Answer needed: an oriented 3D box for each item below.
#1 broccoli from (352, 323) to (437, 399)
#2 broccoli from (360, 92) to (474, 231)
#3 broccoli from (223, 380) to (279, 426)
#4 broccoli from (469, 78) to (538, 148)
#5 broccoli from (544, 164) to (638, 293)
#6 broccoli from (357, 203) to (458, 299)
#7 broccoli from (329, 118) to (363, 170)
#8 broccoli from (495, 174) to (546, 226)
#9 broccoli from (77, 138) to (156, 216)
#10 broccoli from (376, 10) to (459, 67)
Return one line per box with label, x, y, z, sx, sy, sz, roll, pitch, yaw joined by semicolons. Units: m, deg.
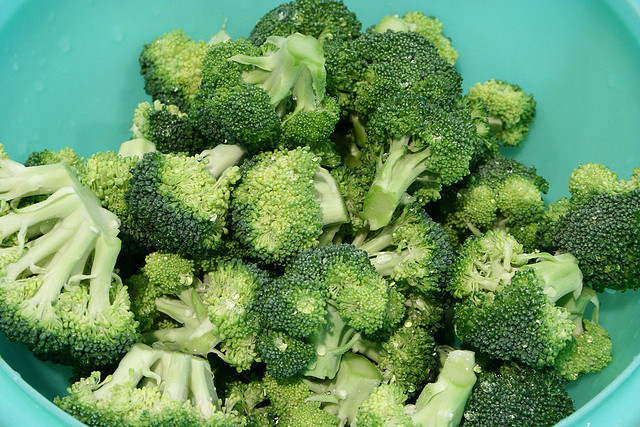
broccoli;0.364;0.618;2.605;0.340;0.209;0.284;5;106;34
broccoli;0.372;-0.263;2.580;0.543;0.246;0.443;-27;72;-7
broccoli;-0.307;0.819;2.545;0.168;0.082;0.221;-31;86;8
broccoli;0.903;-0.515;2.885;0.293;0.152;0.348;-14;102;-20
broccoli;1.196;0.051;2.479;0.430;0.177;0.509;12;86;33
broccoli;0.436;0.199;2.674;0.429;0.246;0.378;-24;74;7
broccoli;0.130;-0.346;2.861;0.149;0.072;0.259;-5;96;2
broccoli;0.926;-0.093;2.672;0.183;0.195;0.206;27;59;25
broccoli;-0.871;-0.183;2.502;0.273;0.201;0.355;1;43;-21
broccoli;0.496;-0.898;2.920;0.300;0.133;0.268;19;76;-7
